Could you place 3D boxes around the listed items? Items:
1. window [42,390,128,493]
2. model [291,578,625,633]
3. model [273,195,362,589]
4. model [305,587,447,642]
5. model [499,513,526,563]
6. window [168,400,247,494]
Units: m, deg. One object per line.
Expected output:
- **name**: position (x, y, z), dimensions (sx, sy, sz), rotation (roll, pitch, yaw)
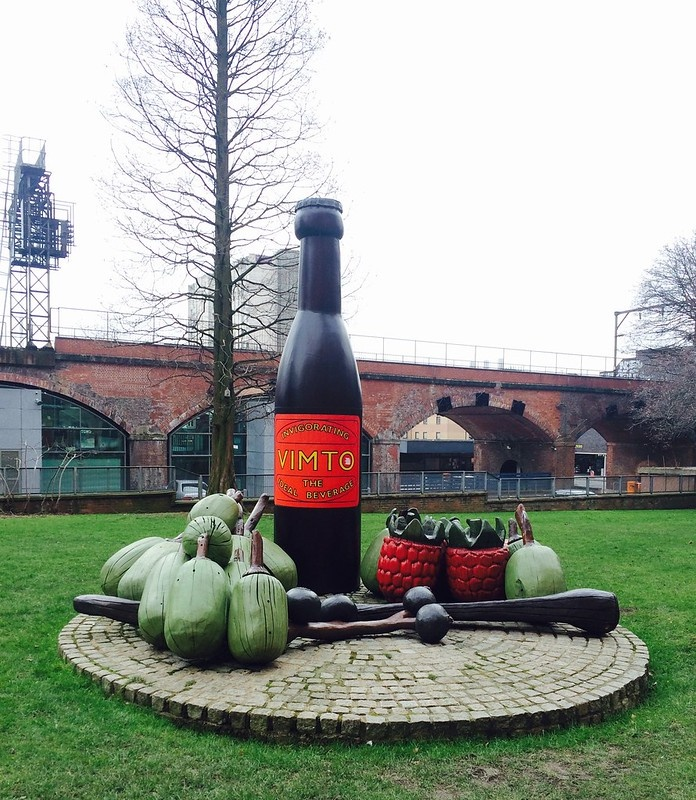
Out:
- **window**: position (-6.716, 1.005, 24.853), dimensions (2.412, 2.354, 0.190), rotation (2, 0, -26)
- **model**: position (0.997, 1.882, 8.935), dimensions (2.460, 0.423, 0.454), rotation (-1, 10, 1)
- **model**: position (-0.333, 0.003, 10.625), dimensions (0.933, 4.046, 1.307), rotation (0, 11, 0)
- **model**: position (0.341, 1.962, 8.647), dimensions (0.918, 0.276, 0.528), rotation (-10, -1, 4)
- **model**: position (1.617, 1.334, 9.678), dimensions (0.309, 0.533, 0.230), rotation (-9, -5, 42)
- **window**: position (-3.593, 1.144, 24.163), dimensions (2.700, 2.826, 0.300), rotation (0, 4, -44)
